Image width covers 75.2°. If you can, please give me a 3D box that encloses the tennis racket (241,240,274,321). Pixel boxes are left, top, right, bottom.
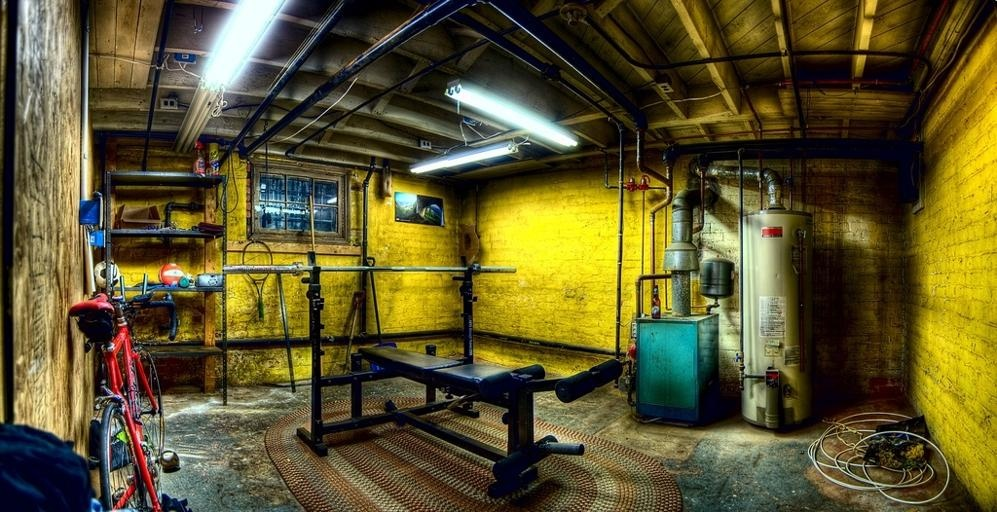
[{"bbox_3d":[-3.906,0.380,10.353,0.703,1.310,0.126,-4,-4,0],"label":"tennis racket"}]

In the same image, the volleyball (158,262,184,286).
[{"bbox_3d":[-4.765,0.268,9.451,0.364,0.322,0.346,12,-4,7],"label":"volleyball"}]

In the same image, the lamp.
[{"bbox_3d":[0.227,-1.805,8.904,1.823,0.236,0.978,12,-22,-20],"label":"lamp"}]
